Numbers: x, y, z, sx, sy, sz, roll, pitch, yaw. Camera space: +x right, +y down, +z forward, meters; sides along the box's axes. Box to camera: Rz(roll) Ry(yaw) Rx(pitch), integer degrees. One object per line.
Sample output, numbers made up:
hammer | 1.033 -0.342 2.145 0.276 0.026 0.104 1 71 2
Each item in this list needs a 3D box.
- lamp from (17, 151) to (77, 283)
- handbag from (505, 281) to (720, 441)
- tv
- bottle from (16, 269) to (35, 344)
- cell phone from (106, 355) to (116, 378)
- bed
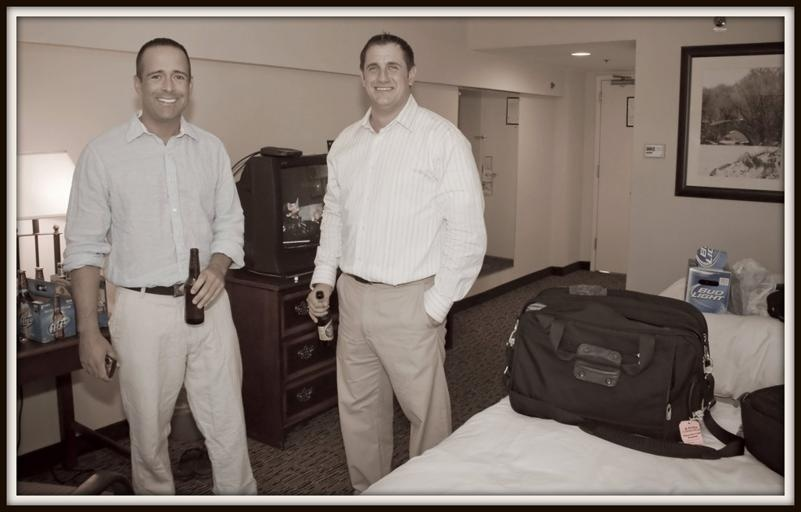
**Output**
lamp | -2.273 -0.108 3.274 0.238 0.445 0.239 5 -2 20
handbag | 1.043 0.523 2.661 1.010 0.651 0.567 8 12 24
tv | -0.907 -0.331 3.947 0.587 0.798 0.780 5 10 23
bottle | -2.155 0.280 2.921 0.080 0.344 0.356 -8 12 -36
cell phone | -1.388 0.528 2.450 0.049 0.122 0.068 -6 11 -29
bed | 0.798 0.675 2.175 1.390 0.357 1.008 -6 18 10
